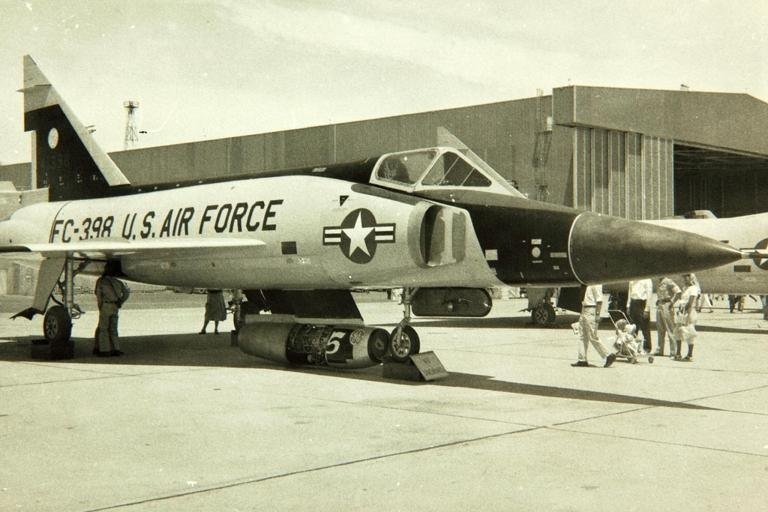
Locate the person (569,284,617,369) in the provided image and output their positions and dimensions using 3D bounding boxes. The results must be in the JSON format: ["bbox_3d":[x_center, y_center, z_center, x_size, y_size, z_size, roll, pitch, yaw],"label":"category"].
[{"bbox_3d":[4.589,1.560,20.448,1.143,2.267,0.734,1,35,7],"label":"person"}]

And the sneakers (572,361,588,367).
[{"bbox_3d":[3.928,2.169,18.823,0.373,0.121,0.117,2,-3,18],"label":"sneakers"}]

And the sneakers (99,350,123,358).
[{"bbox_3d":[-5.921,2.087,20.079,0.521,0.178,0.162,-3,5,-19],"label":"sneakers"}]
